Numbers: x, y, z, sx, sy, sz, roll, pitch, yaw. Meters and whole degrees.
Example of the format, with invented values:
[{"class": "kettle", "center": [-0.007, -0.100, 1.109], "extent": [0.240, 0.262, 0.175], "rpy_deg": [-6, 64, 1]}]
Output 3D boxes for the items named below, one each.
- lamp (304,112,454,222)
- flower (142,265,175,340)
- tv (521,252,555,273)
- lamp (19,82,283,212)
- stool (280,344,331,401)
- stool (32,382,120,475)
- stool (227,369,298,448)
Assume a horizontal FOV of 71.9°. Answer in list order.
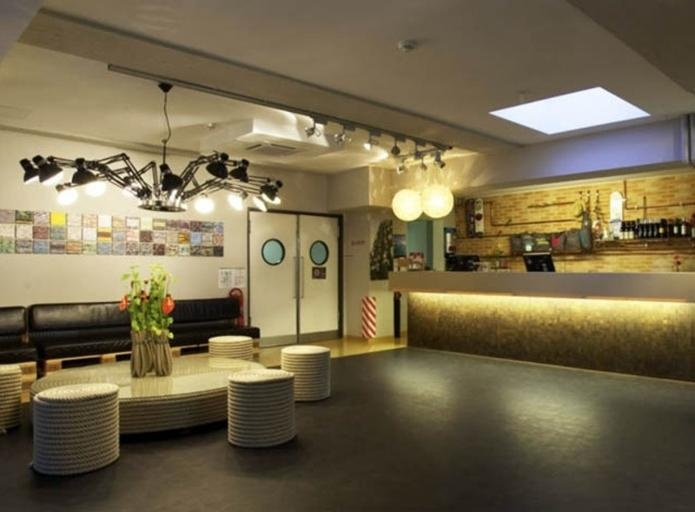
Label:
[{"class": "lamp", "center": [1.127, -1.253, 8.097], "extent": [1.223, 1.268, 2.940], "rpy_deg": [0, 1, 12]}, {"class": "flower", "center": [-1.854, 0.525, 4.897], "extent": [0.298, 0.697, 0.277], "rpy_deg": [13, 22, 28]}, {"class": "tv", "center": [2.839, 0.099, 7.116], "extent": [0.391, 0.256, 0.118], "rpy_deg": [0, 1, 35]}, {"class": "lamp", "center": [-2.644, -0.956, 6.367], "extent": [2.123, 1.190, 2.188], "rpy_deg": [1, -3, -27]}, {"class": "stool", "center": [-0.392, 1.336, 5.432], "extent": [0.513, 0.462, 0.486], "rpy_deg": [-2, -5, -11]}, {"class": "stool", "center": [-2.095, 1.325, 3.873], "extent": [0.609, 0.602, 0.567], "rpy_deg": [0, -1, -12]}, {"class": "stool", "center": [-0.771, 1.339, 4.284], "extent": [0.578, 0.530, 0.523], "rpy_deg": [0, 0, -17]}]
